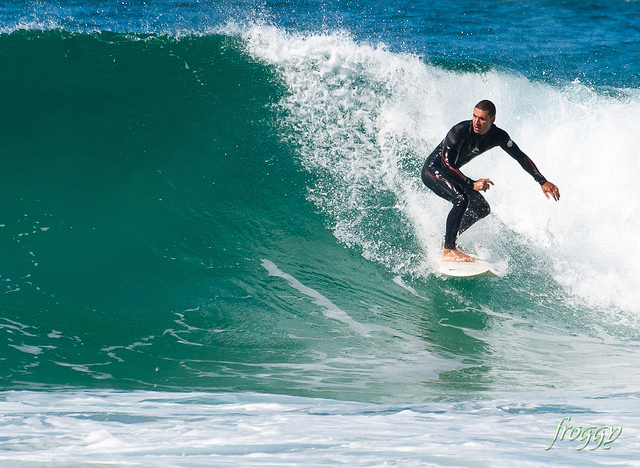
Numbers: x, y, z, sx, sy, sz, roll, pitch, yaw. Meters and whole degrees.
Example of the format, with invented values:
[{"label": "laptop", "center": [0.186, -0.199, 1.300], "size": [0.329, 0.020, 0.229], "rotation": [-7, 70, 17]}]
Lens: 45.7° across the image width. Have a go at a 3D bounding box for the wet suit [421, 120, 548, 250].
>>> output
[{"label": "wet suit", "center": [2.535, -0.790, 12.797], "size": [1.686, 2.182, 0.907], "rotation": [6, 6, 4]}]
